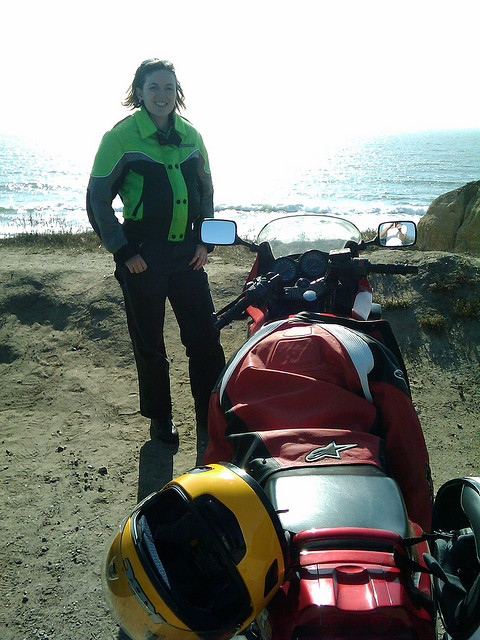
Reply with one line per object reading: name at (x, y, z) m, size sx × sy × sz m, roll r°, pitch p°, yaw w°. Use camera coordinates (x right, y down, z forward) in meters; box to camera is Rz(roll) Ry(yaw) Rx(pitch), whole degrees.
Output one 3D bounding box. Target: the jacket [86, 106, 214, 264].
jacket at (-0.511, -0.849, 3.446) m, size 0.477 × 0.873 × 0.902 m, roll 23°, pitch 29°, yaw 40°
